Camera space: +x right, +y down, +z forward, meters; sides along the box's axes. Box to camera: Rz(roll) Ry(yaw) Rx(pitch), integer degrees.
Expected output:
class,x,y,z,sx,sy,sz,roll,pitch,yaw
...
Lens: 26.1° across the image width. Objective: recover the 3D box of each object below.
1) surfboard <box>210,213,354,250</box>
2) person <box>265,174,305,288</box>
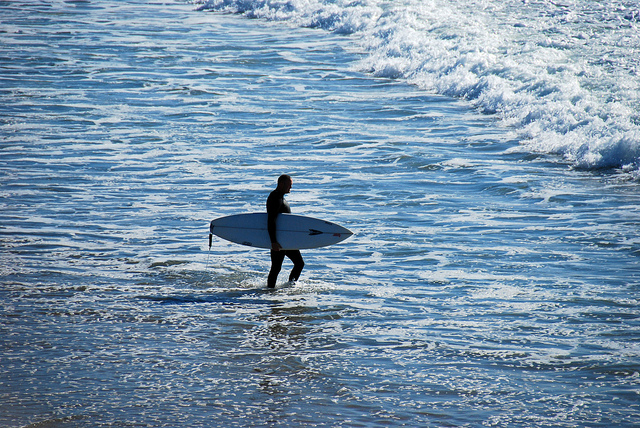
class,x,y,z,sx,sy,sz,roll,pitch,yaw
surfboard,-1.025,0.307,29.909,0.350,0.780,4.278,-16,-14,42
person,-0.724,0.312,29.834,0.923,2.492,0.824,6,18,-9
